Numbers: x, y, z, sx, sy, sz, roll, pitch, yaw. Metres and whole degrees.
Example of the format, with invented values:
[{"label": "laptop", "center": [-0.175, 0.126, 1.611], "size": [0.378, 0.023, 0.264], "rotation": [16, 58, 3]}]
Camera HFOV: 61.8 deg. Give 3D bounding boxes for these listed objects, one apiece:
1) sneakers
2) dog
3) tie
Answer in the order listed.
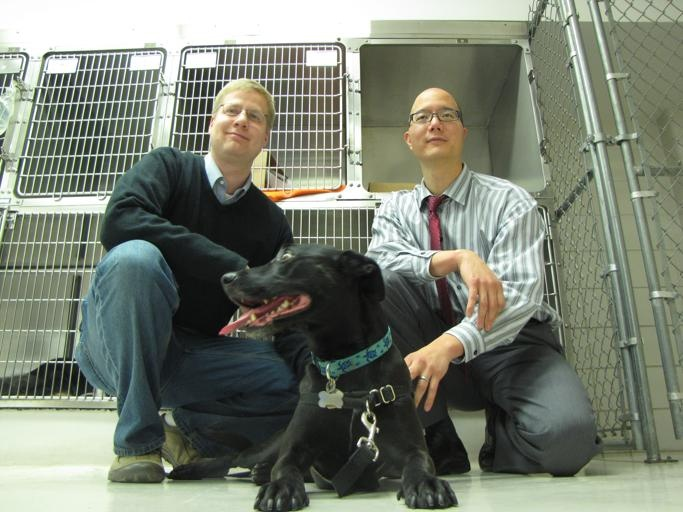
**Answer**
[{"label": "sneakers", "center": [-0.633, 0.662, 2.015], "size": [0.187, 0.215, 0.517], "rotation": [-3, -4, 5]}, {"label": "dog", "center": [-0.038, 0.326, 1.621], "size": [0.589, 0.736, 0.449], "rotation": [-2, -4, -10]}, {"label": "tie", "center": [0.411, -0.004, 2.438], "size": [0.084, 0.565, 0.072], "rotation": [16, -28, -31]}]
